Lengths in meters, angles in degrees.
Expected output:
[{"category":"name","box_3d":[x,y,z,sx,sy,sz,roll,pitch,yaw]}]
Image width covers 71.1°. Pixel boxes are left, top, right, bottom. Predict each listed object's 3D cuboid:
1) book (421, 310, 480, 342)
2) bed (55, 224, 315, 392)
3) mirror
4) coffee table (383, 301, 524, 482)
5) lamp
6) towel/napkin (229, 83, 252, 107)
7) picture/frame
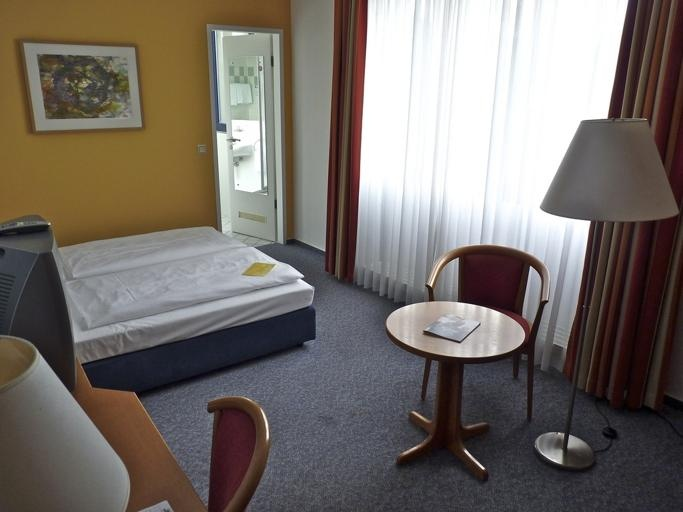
[{"category":"book","box_3d":[0.628,0.412,2.741,0.156,0.025,0.181,12,28,36]},{"category":"bed","box_3d":[-1.116,0.365,3.530,1.334,0.502,1.418,-14,32,-33]},{"category":"mirror","box_3d":[-1.191,-1.622,6.004,0.532,1.606,0.258,13,27,36]},{"category":"coffee table","box_3d":[0.633,0.659,2.956,0.838,0.939,0.839,18,28,42]},{"category":"lamp","box_3d":[1.362,0.244,2.583,0.598,1.898,0.453,-14,24,-25]},{"category":"towel/napkin","box_3d":[-1.250,-2.006,5.901,0.264,0.247,0.040,1,32,3]},{"category":"picture/frame","box_3d":[-2.546,-1.642,4.581,0.925,0.832,0.037,-11,23,-33]}]
